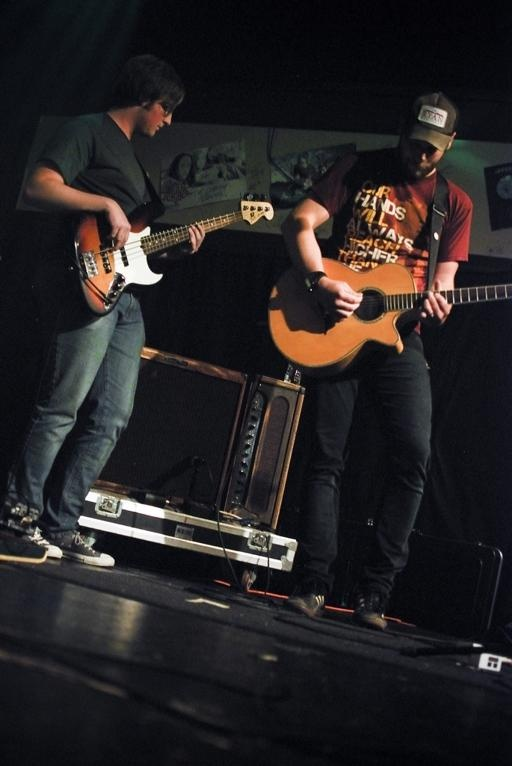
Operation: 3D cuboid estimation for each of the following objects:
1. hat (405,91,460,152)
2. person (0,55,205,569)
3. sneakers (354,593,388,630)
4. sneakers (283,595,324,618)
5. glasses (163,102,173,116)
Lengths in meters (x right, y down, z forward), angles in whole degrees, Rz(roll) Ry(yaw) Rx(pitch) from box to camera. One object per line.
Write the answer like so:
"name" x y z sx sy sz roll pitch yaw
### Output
"hat" 0.616 -0.921 2.258 0.174 0.143 0.276 17 38 1
"person" -0.572 -0.294 2.208 0.433 1.787 0.844 8 10 -9
"sneakers" 0.349 0.695 1.964 0.097 0.073 0.121 11 10 12
"sneakers" 0.158 0.697 2.024 0.127 0.049 0.050 -6 14 24
"glasses" -0.331 -1.031 2.432 0.031 0.014 0.059 -10 -20 -14
